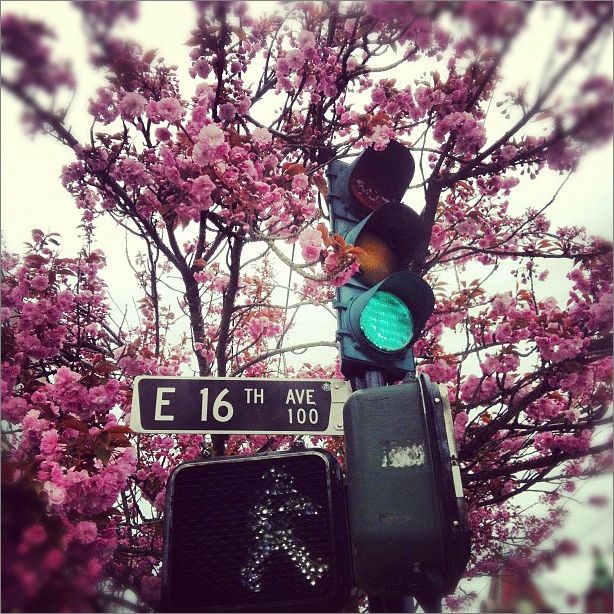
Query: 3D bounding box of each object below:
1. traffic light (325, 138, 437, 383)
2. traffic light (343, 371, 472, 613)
[{"bbox_3d":[0.320,-0.249,3.310,0.444,1.256,0.481,-7,-19,7],"label":"traffic light"},{"bbox_3d":[0.336,0.657,2.578,0.406,0.805,0.269,-5,-19,2],"label":"traffic light"}]
